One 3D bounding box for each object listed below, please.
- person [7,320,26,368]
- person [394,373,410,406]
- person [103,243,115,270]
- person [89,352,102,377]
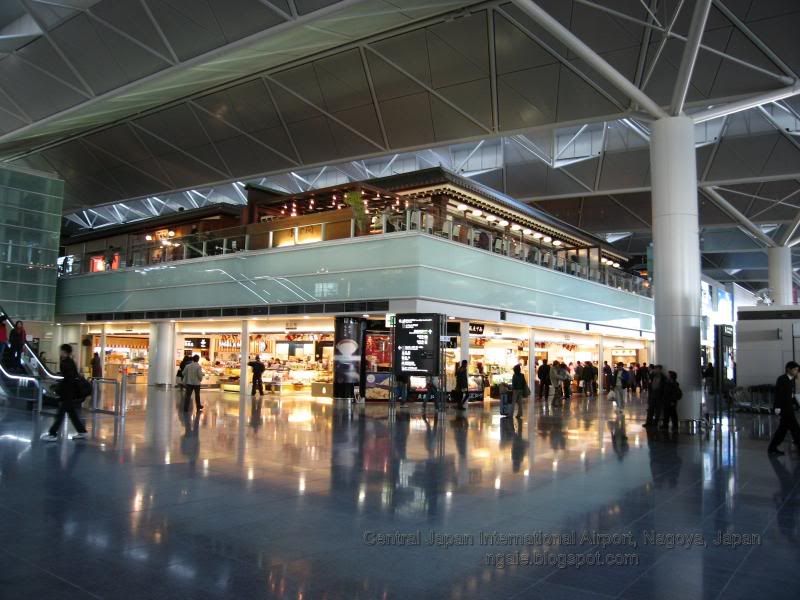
[{"bbox_3d":[-12.113,1.365,18.783,0.415,1.437,0.932,5,-6,-33],"label":"person"},{"bbox_3d":[0.073,3.884,26.041,0.628,1.233,1.408,2,-5,0],"label":"person"},{"bbox_3d":[-17.220,-2.448,35.270,1.111,1.406,0.261,-3,-7,43],"label":"person"},{"bbox_3d":[-17.511,3.680,34.340,0.528,1.327,2.506,4,-5,-26],"label":"person"}]
